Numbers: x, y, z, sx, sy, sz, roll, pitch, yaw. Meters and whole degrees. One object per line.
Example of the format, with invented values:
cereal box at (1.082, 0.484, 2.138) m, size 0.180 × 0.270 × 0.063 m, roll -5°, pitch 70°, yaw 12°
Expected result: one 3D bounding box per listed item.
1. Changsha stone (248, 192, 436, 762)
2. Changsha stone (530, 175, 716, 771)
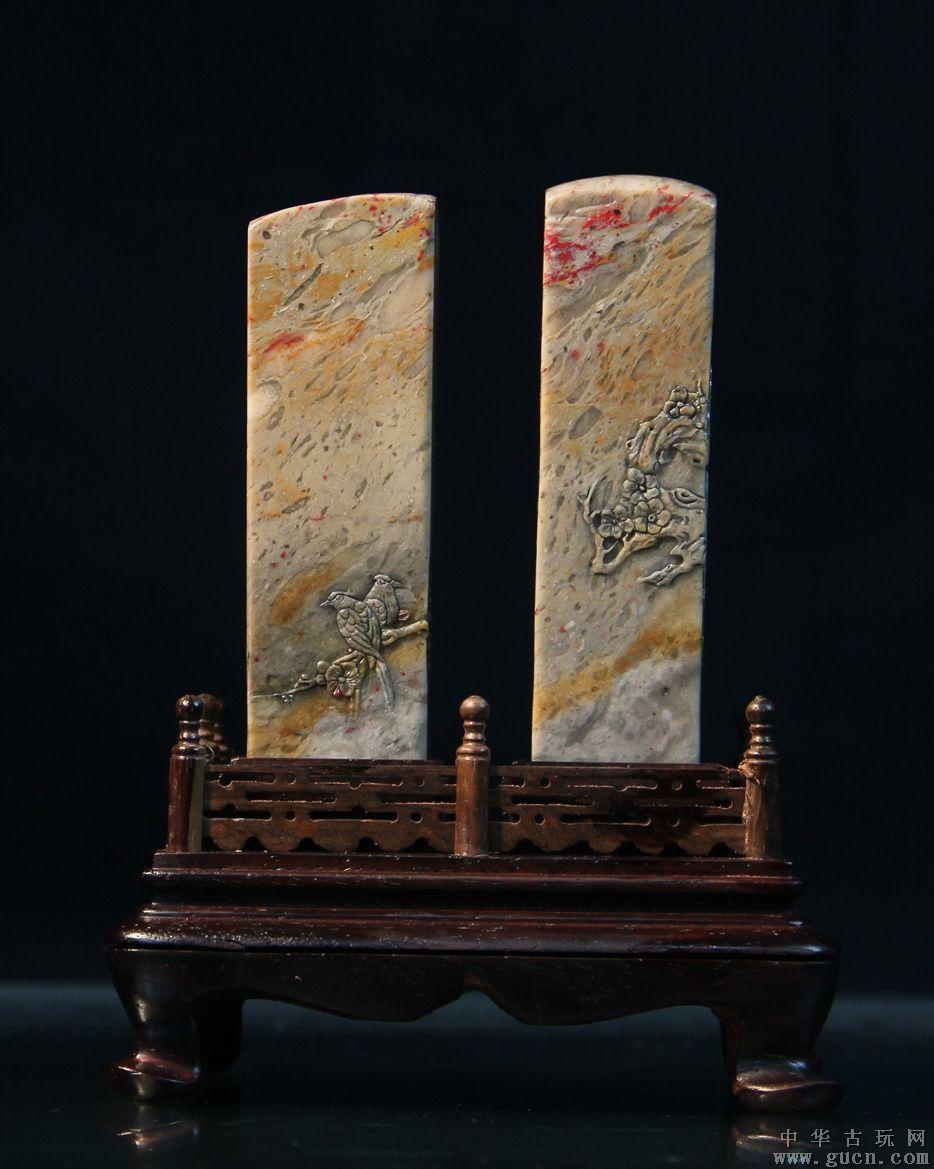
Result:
Changsha stone at (-0.294, -0.234, 6.198) m, size 0.401 × 1.241 × 0.148 m, roll 1°, pitch 3°, yaw -4°
Changsha stone at (0.344, -0.249, 6.164) m, size 0.377 × 1.283 × 0.194 m, roll 1°, pitch 3°, yaw 5°
